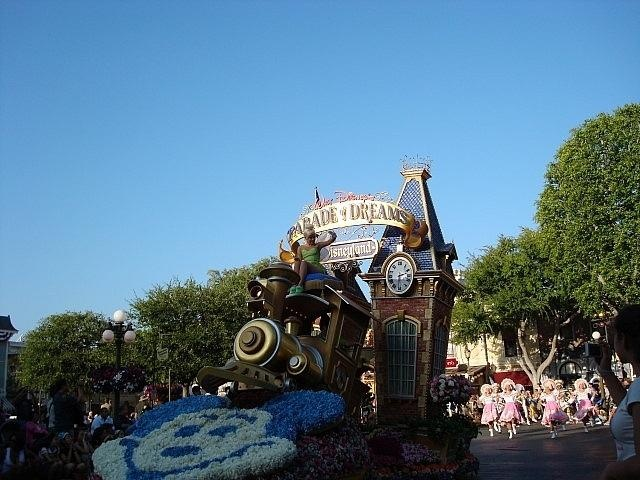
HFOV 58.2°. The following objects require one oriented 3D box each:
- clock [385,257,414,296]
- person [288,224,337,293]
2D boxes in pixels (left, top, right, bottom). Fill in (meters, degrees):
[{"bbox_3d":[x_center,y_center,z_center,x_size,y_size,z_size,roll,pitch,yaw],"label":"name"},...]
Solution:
[{"bbox_3d":[2.208,1.034,15.825,1.061,1.306,0.173,0,-21,19],"label":"clock"},{"bbox_3d":[-0.254,0.349,13.165,0.820,1.814,1.419,-2,-15,6],"label":"person"}]
